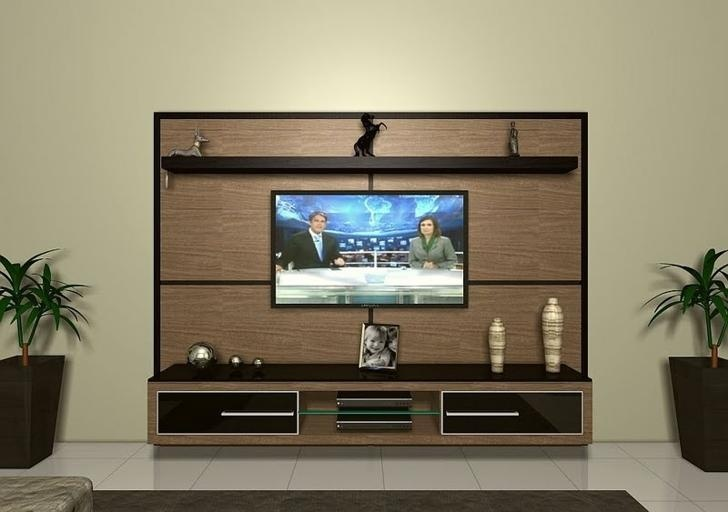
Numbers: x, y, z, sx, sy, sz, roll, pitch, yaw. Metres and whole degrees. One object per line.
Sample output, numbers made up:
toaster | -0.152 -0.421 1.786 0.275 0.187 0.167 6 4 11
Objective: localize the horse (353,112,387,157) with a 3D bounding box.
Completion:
horse | 0.045 -0.993 5.342 0.279 0.344 0.104 -1 1 1

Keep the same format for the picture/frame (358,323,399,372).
picture/frame | 0.121 0.739 5.301 0.399 0.413 0.045 2 -14 4
